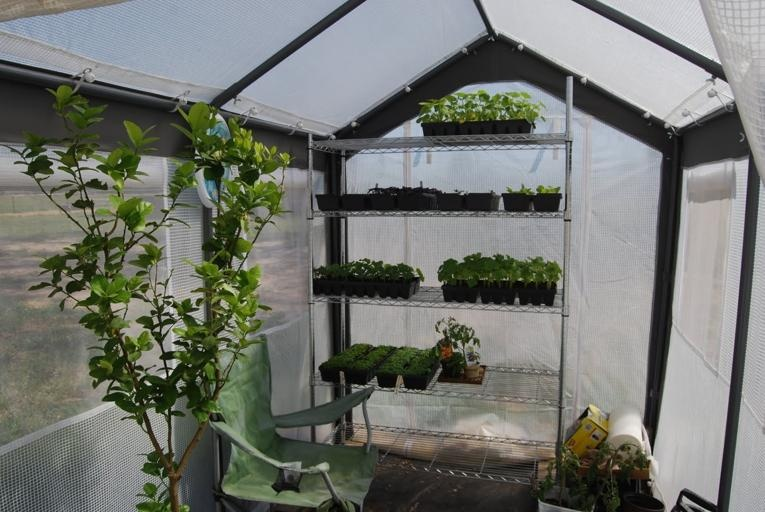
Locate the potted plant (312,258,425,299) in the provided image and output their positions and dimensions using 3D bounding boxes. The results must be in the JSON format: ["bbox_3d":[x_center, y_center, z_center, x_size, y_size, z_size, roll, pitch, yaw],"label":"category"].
[{"bbox_3d":[-0.169,0.200,4.325,0.842,0.272,0.161,1,15,15],"label":"potted plant"}]

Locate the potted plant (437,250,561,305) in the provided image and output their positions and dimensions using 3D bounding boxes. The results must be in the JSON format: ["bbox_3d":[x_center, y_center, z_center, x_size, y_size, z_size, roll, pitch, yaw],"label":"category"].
[{"bbox_3d":[0.887,0.197,4.052,0.900,0.410,0.207,1,15,15],"label":"potted plant"}]

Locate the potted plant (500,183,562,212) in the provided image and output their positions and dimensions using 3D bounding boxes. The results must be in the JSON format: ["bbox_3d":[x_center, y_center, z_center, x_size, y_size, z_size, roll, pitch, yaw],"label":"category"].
[{"bbox_3d":[1.156,-0.434,4.010,0.377,0.157,0.242,0,4,16],"label":"potted plant"}]

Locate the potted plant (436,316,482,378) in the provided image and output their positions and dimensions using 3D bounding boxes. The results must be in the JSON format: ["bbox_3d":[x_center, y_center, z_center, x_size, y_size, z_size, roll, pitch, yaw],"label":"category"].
[{"bbox_3d":[0.642,0.742,4.580,0.472,0.617,0.479,0,2,23],"label":"potted plant"}]

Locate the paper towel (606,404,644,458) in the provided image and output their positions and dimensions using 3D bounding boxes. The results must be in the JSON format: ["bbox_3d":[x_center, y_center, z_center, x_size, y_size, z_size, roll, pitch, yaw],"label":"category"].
[{"bbox_3d":[1.839,1.309,3.947,0.275,0.281,0.461,11,0,25],"label":"paper towel"}]

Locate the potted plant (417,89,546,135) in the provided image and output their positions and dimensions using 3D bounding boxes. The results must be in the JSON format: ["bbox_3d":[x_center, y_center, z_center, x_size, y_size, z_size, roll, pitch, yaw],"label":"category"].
[{"bbox_3d":[0.710,-1.090,3.963,0.875,0.330,0.240,2,15,18],"label":"potted plant"}]
